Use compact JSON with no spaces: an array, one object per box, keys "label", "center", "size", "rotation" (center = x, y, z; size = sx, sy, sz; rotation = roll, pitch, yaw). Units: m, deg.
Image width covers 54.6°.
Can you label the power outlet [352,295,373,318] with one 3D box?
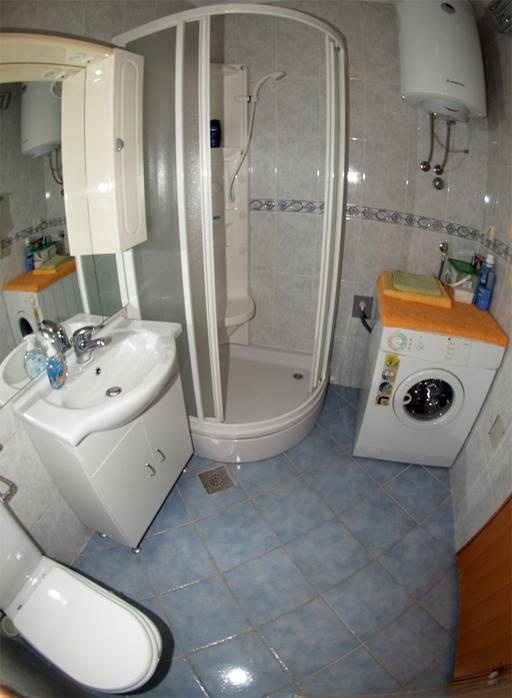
[{"label":"power outlet","center":[0.610,-0.246,2.895],"size":[0.120,0.122,0.030],"rotation":[3,9,31]}]

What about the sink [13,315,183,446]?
[{"label":"sink","center":[-0.537,0.135,1.754],"size":[0.311,0.175,0.582],"rotation":[22,37,7]}]

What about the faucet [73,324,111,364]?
[{"label":"faucet","center":[-0.643,-0.018,1.884],"size":[0.061,0.113,0.159],"rotation":[0,7,28]}]

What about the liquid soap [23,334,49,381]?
[{"label":"liquid soap","center":[-0.734,0.023,1.645],"size":[0.072,0.198,0.075],"rotation":[10,21,0]}]

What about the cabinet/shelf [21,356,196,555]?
[{"label":"cabinet/shelf","center":[-0.565,0.400,1.829],"size":[0.237,0.611,0.542],"rotation":[5,40,22]}]
